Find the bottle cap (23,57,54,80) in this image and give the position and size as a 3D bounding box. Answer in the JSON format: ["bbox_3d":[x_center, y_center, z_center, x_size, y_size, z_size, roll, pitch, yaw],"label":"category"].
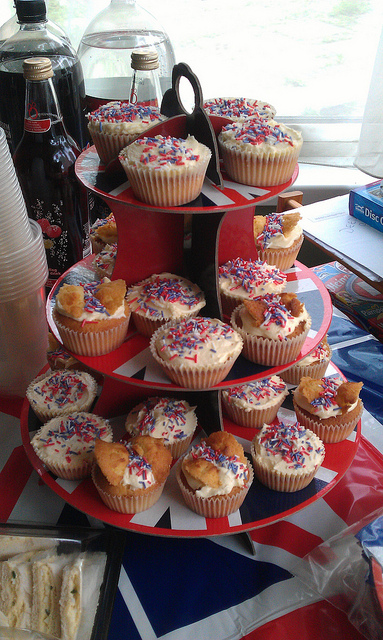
[{"bbox_3d":[-0.339,-0.555,1.057,0.060,0.033,0.062,2,51,-7],"label":"bottle cap"}]

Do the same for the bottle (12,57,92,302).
[{"bbox_3d":[-0.349,-0.319,1.467,0.211,0.803,0.198,0,34,0],"label":"bottle"}]

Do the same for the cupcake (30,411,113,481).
[{"bbox_3d":[-0.227,0.242,0.930,0.127,0.075,0.083,22,39,31],"label":"cupcake"}]

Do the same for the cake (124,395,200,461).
[{"bbox_3d":[-0.061,0.227,1.007,0.131,0.092,0.144,3,13,-5],"label":"cake"}]

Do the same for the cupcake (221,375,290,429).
[{"bbox_3d":[0.139,0.167,1.057,0.127,0.078,0.127,-18,25,-27],"label":"cupcake"}]

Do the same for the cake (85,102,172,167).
[{"bbox_3d":[-0.118,-0.360,0.981,0.149,0.091,0.152,0,40,2],"label":"cake"}]

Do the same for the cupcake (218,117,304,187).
[{"bbox_3d":[0.124,-0.330,0.951,0.165,0.089,0.171,-24,41,-31],"label":"cupcake"}]

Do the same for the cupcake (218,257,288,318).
[{"bbox_3d":[0.128,-0.079,1.090,0.144,0.125,0.146,-11,29,-21],"label":"cupcake"}]

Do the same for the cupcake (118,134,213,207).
[{"bbox_3d":[-0.042,-0.256,0.865,0.126,0.082,0.135,3,37,3],"label":"cupcake"}]

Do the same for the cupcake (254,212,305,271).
[{"bbox_3d":[0.209,-0.174,1.252,0.114,0.161,0.122,-11,31,-16],"label":"cupcake"}]

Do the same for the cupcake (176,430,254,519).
[{"bbox_3d":[0.045,0.270,0.892,0.129,0.109,0.156,-11,39,-7],"label":"cupcake"}]

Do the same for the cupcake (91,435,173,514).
[{"bbox_3d":[-0.100,0.272,0.888,0.129,0.101,0.154,13,22,30],"label":"cupcake"}]

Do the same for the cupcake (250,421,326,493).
[{"bbox_3d":[0.181,0.253,0.918,0.114,0.079,0.128,0,30,2],"label":"cupcake"}]

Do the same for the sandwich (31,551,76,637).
[{"bbox_3d":[-0.231,0.462,0.818,0.071,0.027,0.097,-1,74,14],"label":"sandwich"}]

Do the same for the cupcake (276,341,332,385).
[{"bbox_3d":[0.281,0.103,1.182,0.107,0.078,0.118,-11,25,-2],"label":"cupcake"}]

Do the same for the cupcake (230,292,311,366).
[{"bbox_3d":[0.159,0.005,0.940,0.147,0.111,0.150,-10,36,-15],"label":"cupcake"}]

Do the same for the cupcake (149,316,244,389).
[{"bbox_3d":[0.012,0.026,0.852,0.128,0.068,0.132,0,31,1],"label":"cupcake"}]

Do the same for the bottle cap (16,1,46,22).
[{"bbox_3d":[-0.448,-0.865,1.361,0.054,0.050,0.056,-5,52,-5],"label":"bottle cap"}]

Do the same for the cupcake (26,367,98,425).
[{"bbox_3d":[-0.279,0.169,1.058,0.136,0.077,0.106,18,32,35],"label":"cupcake"}]

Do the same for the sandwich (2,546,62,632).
[{"bbox_3d":[-0.283,0.445,0.833,0.035,0.133,0.131,-4,-4,19],"label":"sandwich"}]
